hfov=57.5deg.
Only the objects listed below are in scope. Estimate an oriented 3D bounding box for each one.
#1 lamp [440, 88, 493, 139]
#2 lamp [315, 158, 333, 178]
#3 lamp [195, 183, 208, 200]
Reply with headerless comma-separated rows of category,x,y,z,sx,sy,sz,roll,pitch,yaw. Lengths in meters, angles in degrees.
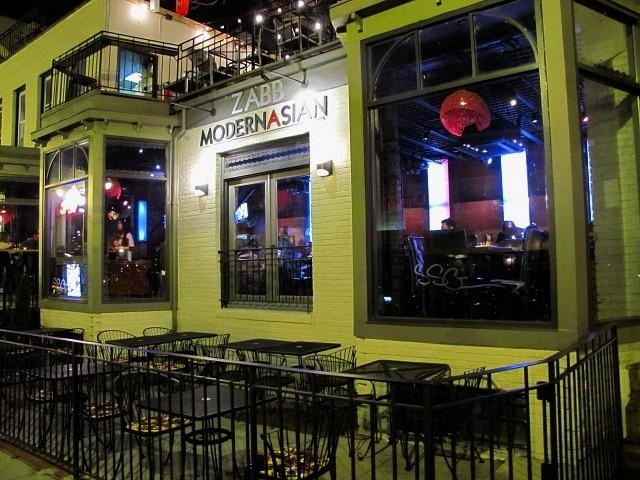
lamp,1.870,-1.620,7.477,0.570,0.389,0.556,-1,5,10
lamp,0.043,-1.115,9.105,0.279,0.265,0.178,-7,-10,43
lamp,-2.211,-0.917,10.819,0.308,0.229,0.165,-7,-10,42
